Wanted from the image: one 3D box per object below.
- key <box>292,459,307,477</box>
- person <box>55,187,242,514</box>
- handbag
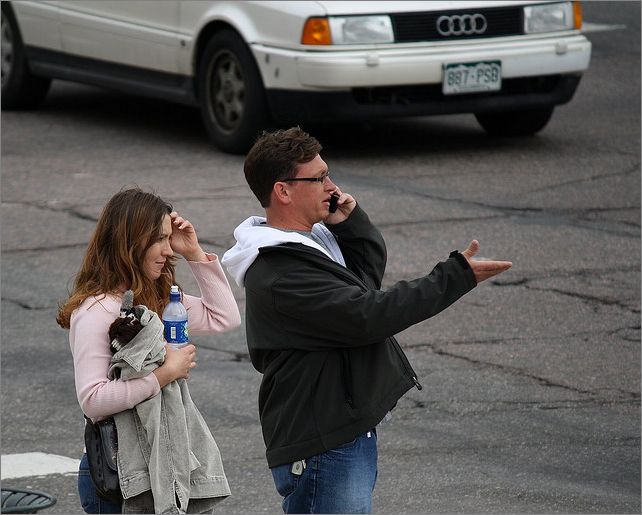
[{"bbox_3d":[-0.115,1.005,6.420,0.057,0.076,0.018,1,1,14],"label":"key"},{"bbox_3d":[-0.797,0.426,6.540,0.949,1.455,0.726,-9,22,-24],"label":"person"},{"bbox_3d":[-1.040,0.952,6.296,0.152,0.375,0.218,-4,21,-11],"label":"handbag"}]
